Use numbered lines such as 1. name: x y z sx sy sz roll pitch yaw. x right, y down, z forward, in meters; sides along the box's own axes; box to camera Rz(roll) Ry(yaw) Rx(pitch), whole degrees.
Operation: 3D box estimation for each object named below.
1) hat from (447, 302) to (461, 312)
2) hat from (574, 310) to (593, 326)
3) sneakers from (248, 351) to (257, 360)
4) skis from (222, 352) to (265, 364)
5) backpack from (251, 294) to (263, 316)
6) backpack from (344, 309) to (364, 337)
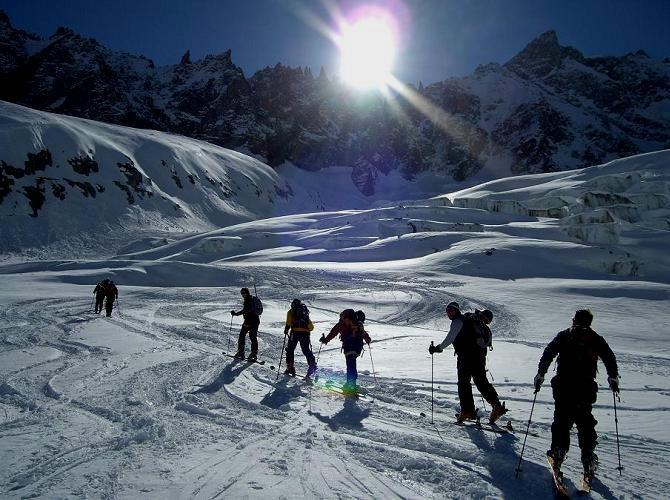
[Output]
1. hat: 3.176 1.532 13.962 0.451 0.192 0.292 20 -3 19
2. hat: 6.023 1.629 12.211 0.427 0.402 0.526 6 -5 -44
3. sneakers: -3.032 3.868 18.369 0.272 0.324 0.288 3 12 2
4. skis: -3.420 3.985 18.555 1.885 0.113 0.214 7 45 16
5. backpack: -2.897 2.090 18.578 0.328 0.811 0.612 -1 12 -16
6. backpack: 0.566 2.275 16.012 0.716 0.705 0.343 1 -4 -5
